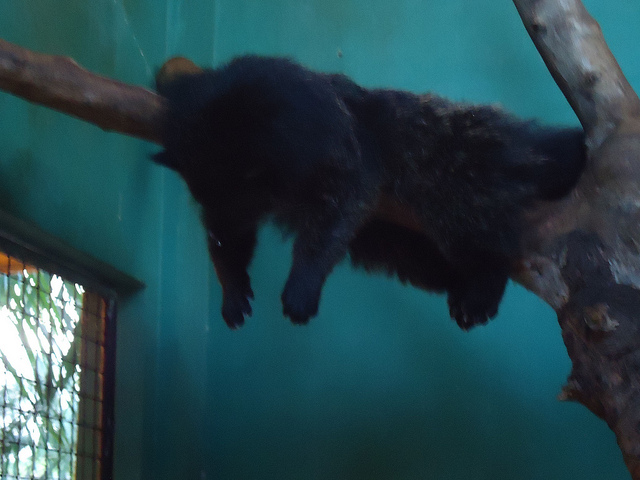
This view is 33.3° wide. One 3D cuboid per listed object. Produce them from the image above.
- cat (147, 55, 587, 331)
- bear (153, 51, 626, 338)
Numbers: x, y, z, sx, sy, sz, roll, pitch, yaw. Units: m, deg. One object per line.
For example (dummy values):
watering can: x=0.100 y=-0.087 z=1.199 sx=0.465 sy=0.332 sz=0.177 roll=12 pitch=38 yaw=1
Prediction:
cat: x=-0.138 y=-0.259 z=4.062 sx=2.074 sy=0.993 sz=0.665 roll=0 pitch=5 yaw=-2
bear: x=0.336 y=-0.192 z=3.984 sx=2.074 sy=0.965 sz=0.632 roll=-3 pitch=-8 yaw=-16
